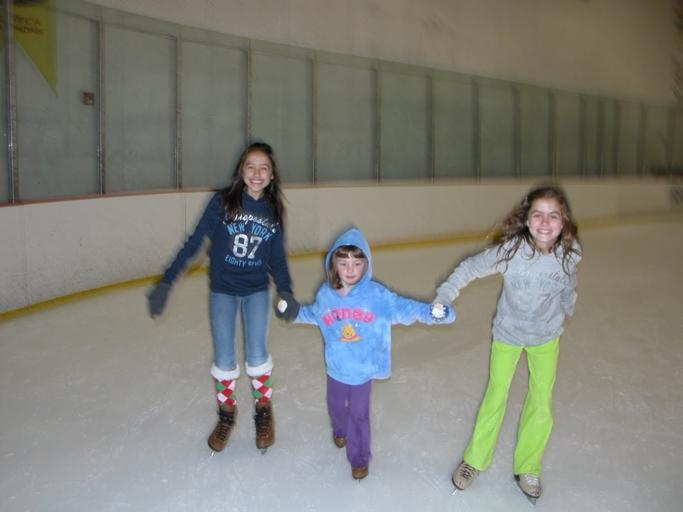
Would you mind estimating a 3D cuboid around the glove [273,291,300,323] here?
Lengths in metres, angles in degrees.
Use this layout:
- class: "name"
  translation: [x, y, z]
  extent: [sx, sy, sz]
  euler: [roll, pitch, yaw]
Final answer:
- class: "glove"
  translation: [-0.300, 0.277, 2.875]
  extent: [0.139, 0.149, 0.130]
  euler: [-23, 31, -35]

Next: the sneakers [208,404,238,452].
- class: "sneakers"
  translation: [-0.692, 1.001, 3.043]
  extent: [0.108, 0.340, 0.142]
  euler: [15, -31, -20]

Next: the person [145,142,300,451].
- class: "person"
  translation: [-0.642, 0.238, 2.966]
  extent: [0.750, 1.784, 0.420]
  euler: [1, 10, -7]

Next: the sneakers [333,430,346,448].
- class: "sneakers"
  translation: [-0.020, 1.093, 3.051]
  extent: [0.057, 0.117, 0.041]
  euler: [-6, -27, -2]

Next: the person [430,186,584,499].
- class: "person"
  translation: [0.890, 0.438, 2.713]
  extent: [0.660, 1.608, 0.401]
  euler: [4, 10, 14]

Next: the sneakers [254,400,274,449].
- class: "sneakers"
  translation: [-0.461, 0.999, 3.039]
  extent: [0.093, 0.118, 0.291]
  euler: [-4, 46, -3]
